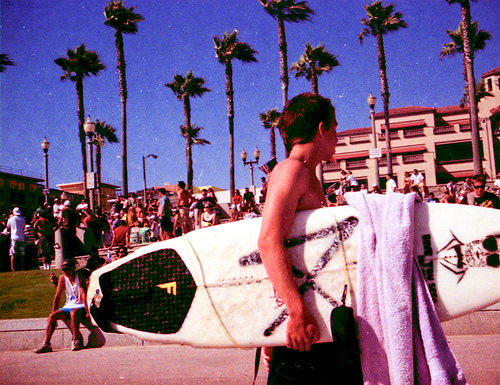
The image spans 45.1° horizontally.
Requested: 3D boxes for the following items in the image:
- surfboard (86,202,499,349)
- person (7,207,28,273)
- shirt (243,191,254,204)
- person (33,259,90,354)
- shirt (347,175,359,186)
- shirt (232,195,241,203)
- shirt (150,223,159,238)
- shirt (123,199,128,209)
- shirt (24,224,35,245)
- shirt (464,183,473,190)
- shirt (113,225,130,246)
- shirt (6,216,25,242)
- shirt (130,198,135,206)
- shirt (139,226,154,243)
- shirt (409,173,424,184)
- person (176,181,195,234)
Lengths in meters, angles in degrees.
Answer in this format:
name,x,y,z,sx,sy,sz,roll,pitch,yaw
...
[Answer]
name,x,y,z,sx,sy,sz,roll,pitch,yaw
surfboard,0.248,0.567,4.085,2.714,0.921,0.493,-3,-4,14
person,-5.685,1.141,14.713,0.404,1.530,0.548,0,-4,-23
shirt,-0.030,0.167,18.701,0.320,0.413,0.379,-1,-4,-13
person,-2.672,1.608,8.651,0.704,1.269,0.738,-1,-4,-8
shirt,3.512,-0.399,20.793,0.348,0.464,1.041,-2,-5,9
shirt,-0.458,0.223,19.742,0.195,0.248,0.320,-3,-5,12
shirt,-2.347,0.956,14.870,0.109,0.369,0.224,5,3,-40
shirt,-3.880,0.376,18.805,0.076,0.224,0.156,22,19,-10
shirt,-5.733,1.126,15.725,0.246,0.494,1.256,0,-5,-21
shirt,5.397,-0.150,14.979,0.179,0.085,0.189,8,-12,31
shirt,-3.061,1.041,14.303,0.329,0.484,0.133,1,1,32
shirt,-5.694,0.903,14.702,0.579,0.766,0.267,1,3,-40
shirt,-3.229,0.289,16.651,0.135,0.148,0.038,-6,-10,43
shirt,-2.546,1.013,14.320,0.284,0.309,0.552,-6,-1,-4
shirt,5.770,-0.472,21.046,0.483,0.457,0.184,-7,-30,36
person,-1.574,0.366,15.525,0.585,1.361,0.401,1,19,10
